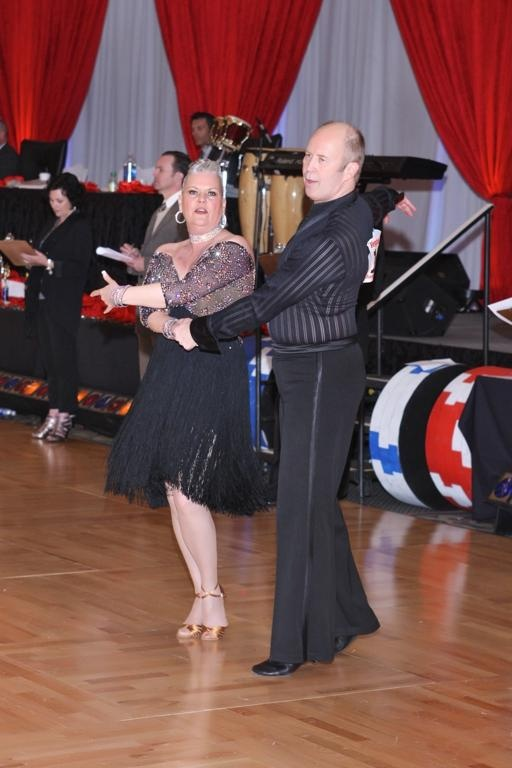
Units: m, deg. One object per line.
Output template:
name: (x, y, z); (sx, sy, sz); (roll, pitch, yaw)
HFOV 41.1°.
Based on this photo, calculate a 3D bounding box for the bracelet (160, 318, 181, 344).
bracelet: (-0.218, -0.137, 1.761); (0.022, 0.054, 0.054); (4, -7, 37)

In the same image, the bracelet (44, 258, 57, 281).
bracelet: (-1.498, -0.847, 5.005); (0.045, 0.121, 0.099); (-5, 26, 6)

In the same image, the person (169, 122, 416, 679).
person: (0.039, 0.037, 1.622); (0.435, 1.270, 0.295); (3, -4, 7)

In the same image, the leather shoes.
leather shoes: (0.135, 0.717, 1.831); (0.290, 0.116, 0.093); (2, 0, -24)

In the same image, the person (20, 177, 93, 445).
person: (-1.511, -0.559, 5.141); (0.454, 1.984, 0.575); (5, -4, -18)

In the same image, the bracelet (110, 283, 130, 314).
bracelet: (-0.381, -0.242, 1.882); (0.030, 0.058, 0.058); (1, 21, 9)
